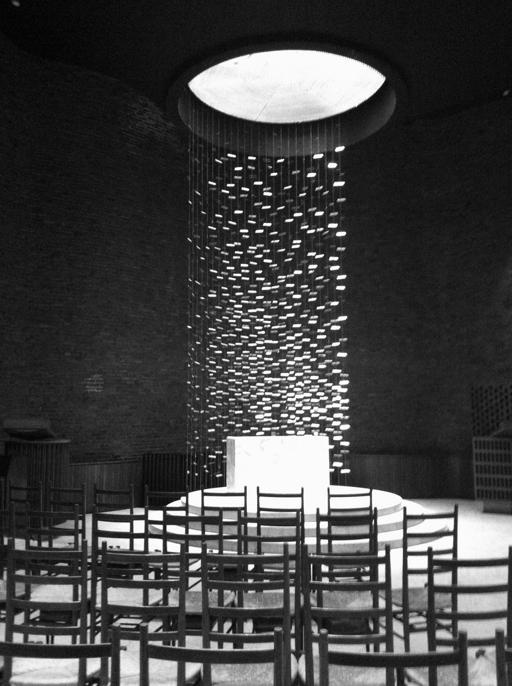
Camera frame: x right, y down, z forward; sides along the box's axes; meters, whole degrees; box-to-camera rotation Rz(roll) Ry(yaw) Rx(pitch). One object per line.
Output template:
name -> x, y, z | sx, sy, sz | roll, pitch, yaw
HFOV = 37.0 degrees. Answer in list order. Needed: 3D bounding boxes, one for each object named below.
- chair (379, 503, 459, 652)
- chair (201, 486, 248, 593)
chair -> 1.038, 1.382, 4.690 | 0.420, 0.822, 0.371 | -8, -24, 44
chair -> -0.206, 1.255, 5.154 | 0.252, 0.666, 0.332 | 2, 5, 2
